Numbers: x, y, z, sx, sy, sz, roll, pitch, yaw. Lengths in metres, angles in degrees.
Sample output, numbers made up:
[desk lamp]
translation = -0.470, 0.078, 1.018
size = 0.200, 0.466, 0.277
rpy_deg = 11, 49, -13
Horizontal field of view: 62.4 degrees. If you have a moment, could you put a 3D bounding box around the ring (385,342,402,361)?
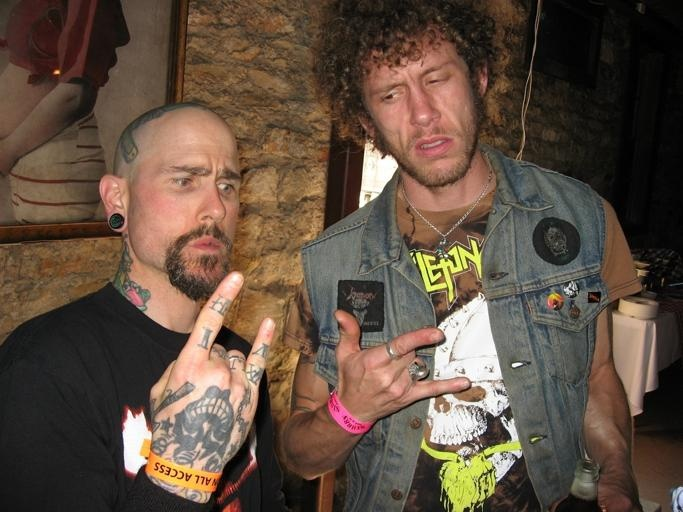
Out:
[ring]
translation = 0.192, 0.359, 2.134
size = 0.046, 0.063, 0.023
rpy_deg = 15, 44, 42

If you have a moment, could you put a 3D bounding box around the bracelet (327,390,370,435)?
[bracelet]
translation = 0.012, 0.655, 2.297
size = 0.164, 0.061, 0.166
rpy_deg = 40, -6, -24
